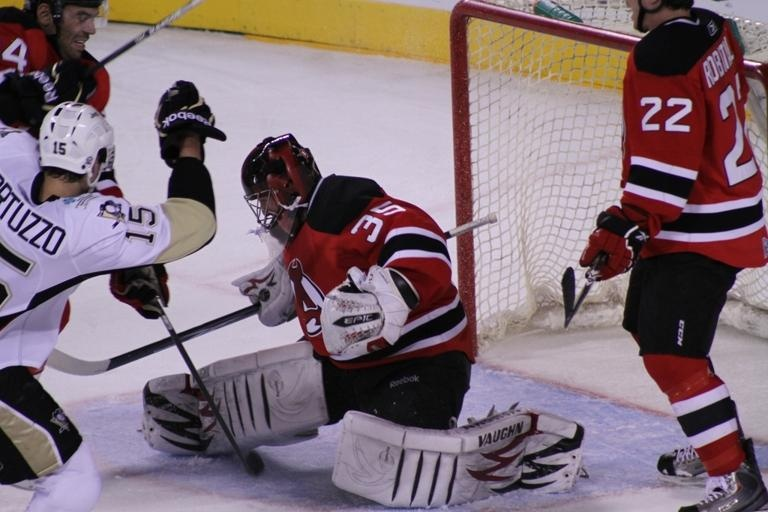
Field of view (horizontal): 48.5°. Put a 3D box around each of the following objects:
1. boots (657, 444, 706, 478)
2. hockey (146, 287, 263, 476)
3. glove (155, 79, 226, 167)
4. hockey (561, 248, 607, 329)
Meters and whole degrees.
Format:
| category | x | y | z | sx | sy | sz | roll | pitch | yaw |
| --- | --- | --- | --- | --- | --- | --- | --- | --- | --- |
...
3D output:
| category | x | y | z | sx | sy | sz | roll | pitch | yaw |
| --- | --- | --- | --- | --- | --- | --- | --- | --- | --- |
| boots | 1.046 | 0.730 | 3.019 | 0.235 | 0.076 | 0.092 | -1 | -4 | 12 |
| hockey | -0.711 | 0.516 | 3.354 | 0.789 | 0.106 | 0.091 | 55 | 13 | 14 |
| glove | -0.679 | -0.481 | 2.957 | 0.198 | 0.343 | 0.183 | 8 | 7 | -6 |
| hockey | 0.751 | 0.114 | 3.130 | 0.079 | 0.168 | 0.277 | 23 | 51 | 25 |
